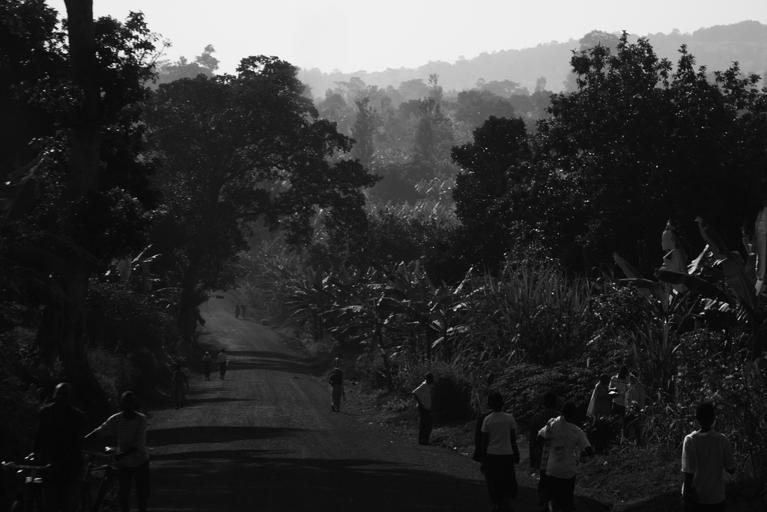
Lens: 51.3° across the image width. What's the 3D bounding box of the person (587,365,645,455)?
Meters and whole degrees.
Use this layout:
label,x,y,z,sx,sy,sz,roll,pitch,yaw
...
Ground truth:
label,x,y,z,sx,sy,sz,roll,pitch,yaw
person,5.634,3.788,19.175,1.400,1.021,2.800,-8,-37,8
